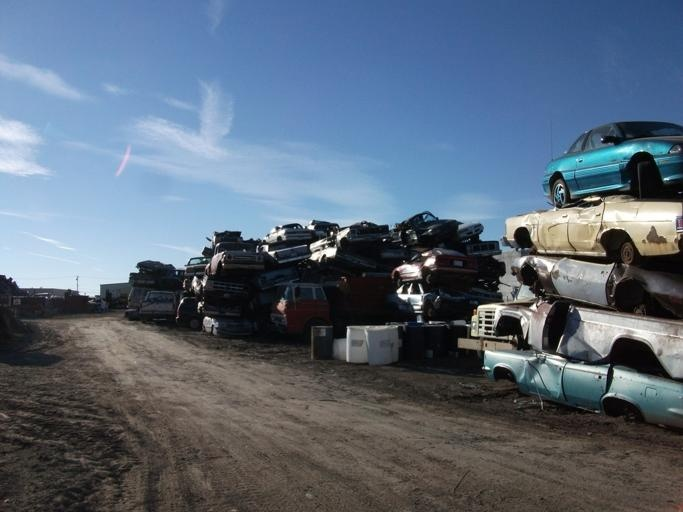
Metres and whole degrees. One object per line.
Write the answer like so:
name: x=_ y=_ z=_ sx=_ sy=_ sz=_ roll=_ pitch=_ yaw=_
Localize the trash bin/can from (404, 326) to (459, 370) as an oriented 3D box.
trash bin/can: x=2.655 y=2.587 z=12.627 sx=1.393 sy=0.735 sz=1.001 roll=4 pitch=-5 yaw=-31
